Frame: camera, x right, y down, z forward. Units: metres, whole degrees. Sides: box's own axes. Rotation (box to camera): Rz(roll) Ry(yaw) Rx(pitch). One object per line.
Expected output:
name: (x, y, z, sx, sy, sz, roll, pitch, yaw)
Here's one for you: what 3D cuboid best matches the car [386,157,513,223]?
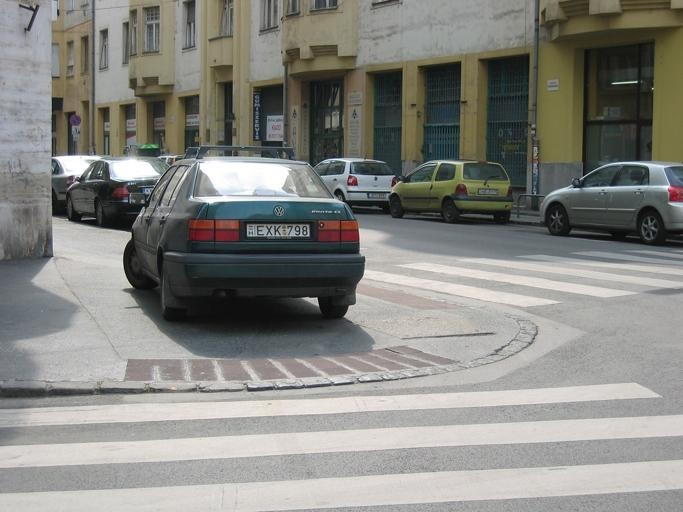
car: (3.603, -2.252, 23.300, 2.109, 1.476, 3.518, -2, 11, -29)
